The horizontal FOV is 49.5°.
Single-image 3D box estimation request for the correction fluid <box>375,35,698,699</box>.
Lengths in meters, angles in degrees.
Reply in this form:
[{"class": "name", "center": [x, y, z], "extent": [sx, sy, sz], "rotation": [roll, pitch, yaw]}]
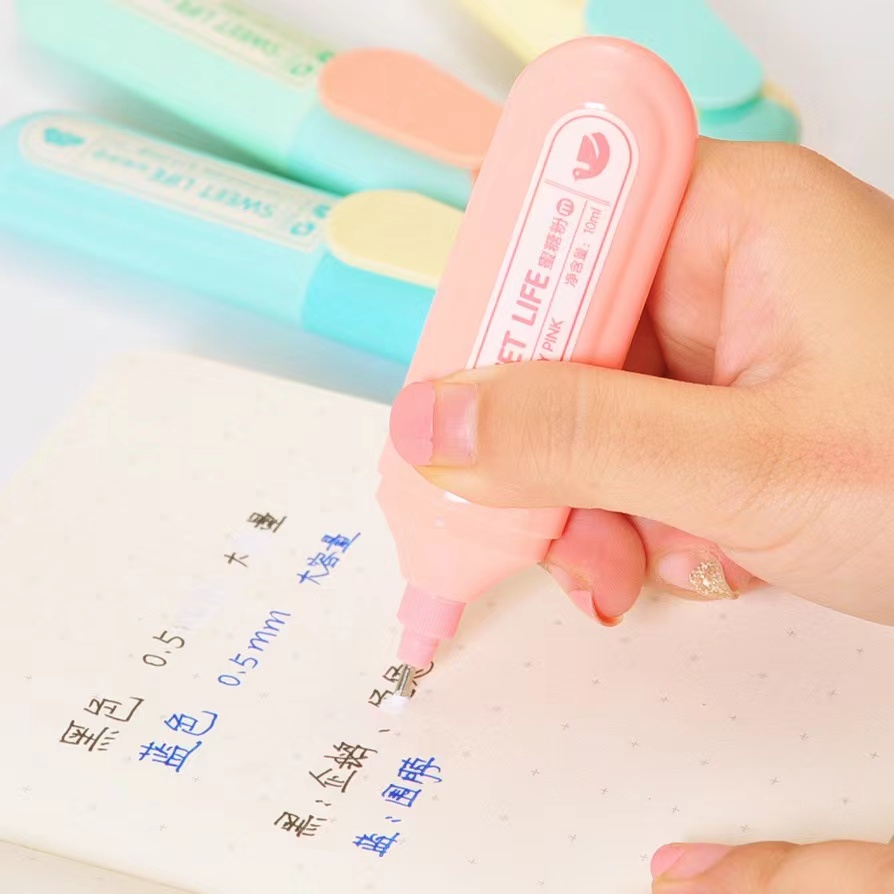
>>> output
[{"class": "correction fluid", "center": [0.027, -0.024, 0.491], "extent": [0.099, 0.335, 0.145], "rotation": [16, 42, -4]}]
